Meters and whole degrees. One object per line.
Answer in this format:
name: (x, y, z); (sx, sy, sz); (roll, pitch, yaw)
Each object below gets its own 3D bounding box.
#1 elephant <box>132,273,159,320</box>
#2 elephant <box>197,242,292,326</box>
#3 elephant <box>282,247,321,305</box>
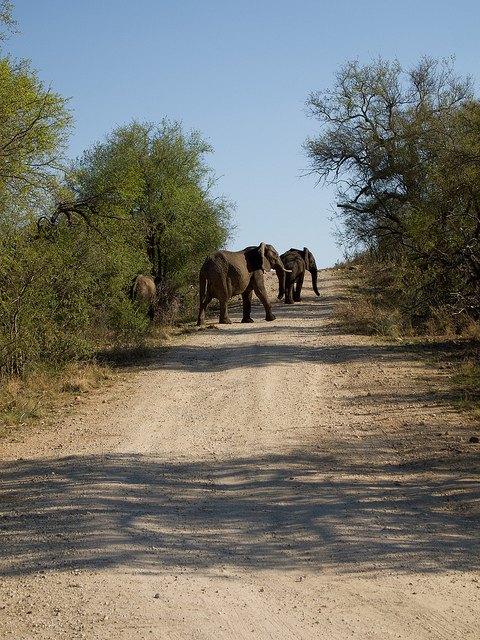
elephant: (-2.640, -0.770, 19.194); (0.571, 1.058, 1.480); (1, 10, 0)
elephant: (0.006, -0.947, 18.395); (1.266, 2.191, 2.726); (4, 7, 37)
elephant: (2.187, -1.730, 26.340); (2.380, 1.928, 1.112); (-6, 4, -40)
